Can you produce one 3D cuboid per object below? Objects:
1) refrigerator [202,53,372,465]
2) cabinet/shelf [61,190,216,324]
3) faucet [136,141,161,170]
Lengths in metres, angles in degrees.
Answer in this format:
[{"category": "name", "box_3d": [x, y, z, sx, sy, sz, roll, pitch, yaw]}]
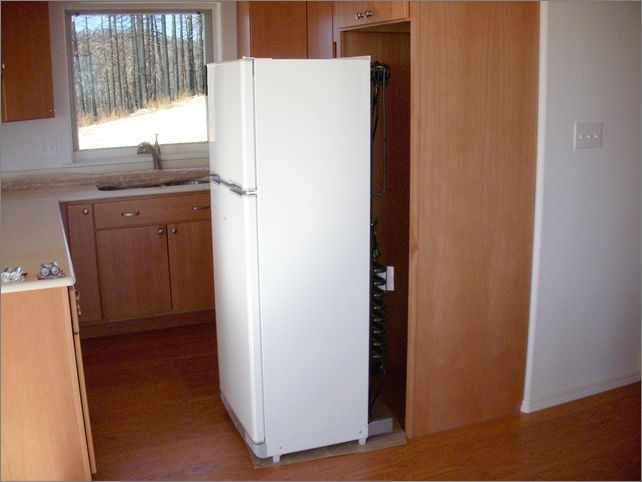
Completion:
[{"category": "refrigerator", "box_3d": [-0.155, 0.099, 2.728, 0.919, 2.009, 0.494, -4, 12, 3]}, {"category": "cabinet/shelf", "box_3d": [-1.338, 0.070, 3.845, 0.871, 0.780, 0.349, -4, 10, -21]}, {"category": "faucet", "box_3d": [-1.410, -0.705, 4.416, 0.183, 0.232, 0.139, -8, 13, -16]}]
